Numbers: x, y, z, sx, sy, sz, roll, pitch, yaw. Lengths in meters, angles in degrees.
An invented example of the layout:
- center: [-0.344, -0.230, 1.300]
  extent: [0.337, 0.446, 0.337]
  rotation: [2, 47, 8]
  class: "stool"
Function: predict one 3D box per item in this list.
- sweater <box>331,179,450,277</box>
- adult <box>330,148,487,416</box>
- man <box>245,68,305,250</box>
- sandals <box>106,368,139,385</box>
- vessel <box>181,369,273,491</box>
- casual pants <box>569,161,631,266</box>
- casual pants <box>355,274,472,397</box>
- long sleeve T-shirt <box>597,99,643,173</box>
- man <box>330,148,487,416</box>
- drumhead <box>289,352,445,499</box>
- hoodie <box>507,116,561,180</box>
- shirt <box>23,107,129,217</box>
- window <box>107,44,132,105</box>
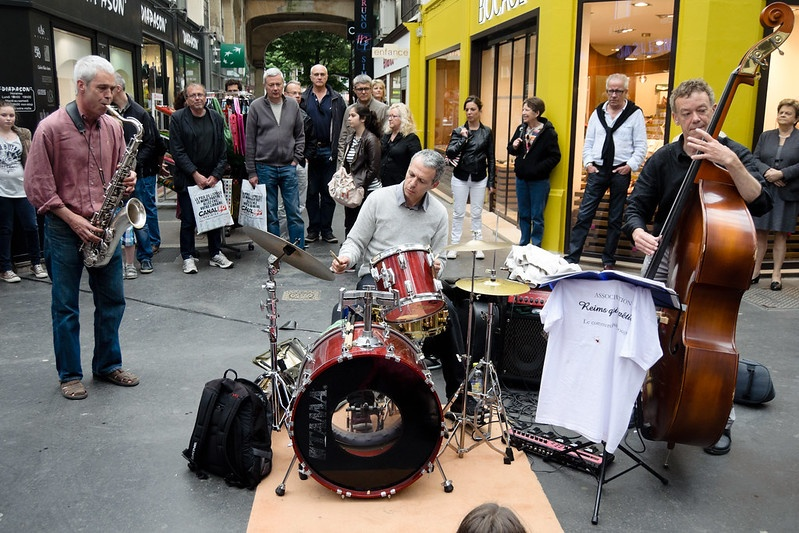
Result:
- center: [-0.146, -0.310, 5.271]
  extent: [1.176, 1.018, 0.677]
  rotation: [4, 14, -15]
  class: "sweater"
- center: [0.130, 0.084, 5.093]
  extent: [1.206, 2.109, 1.129]
  rotation: [2, 8, 10]
  class: "adult"
- center: [-1.806, -1.479, 8.967]
  extent: [0.874, 2.801, 0.648]
  rotation: [5, 26, 0]
  class: "man"
- center: [-2.469, 0.976, 5.413]
  extent: [0.265, 0.085, 0.142]
  rotation: [4, 15, 18]
  class: "sandals"
- center: [-1.231, 1.159, 4.438]
  extent: [0.627, 0.799, 0.454]
  rotation: [9, 6, 17]
  class: "vessel"
- center: [2.773, -0.807, 8.411]
  extent: [0.739, 1.957, 0.400]
  rotation: [4, 43, 9]
  class: "casual pants"
- center: [0.311, 0.567, 4.900]
  extent: [0.947, 0.974, 0.223]
  rotation: [-23, 30, 17]
  class: "casual pants"
- center: [2.888, -1.749, 8.162]
  extent: [0.819, 0.912, 0.498]
  rotation: [16, 25, 40]
  class: "long sleeve T-shirt"
- center: [0.152, 0.088, 5.033]
  extent: [1.274, 2.086, 1.188]
  rotation: [3, 9, 13]
  class: "man"
- center: [-0.234, 1.057, 4.218]
  extent: [0.974, 1.002, 0.238]
  rotation: [18, 15, -8]
  class: "drumhead"
- center: [1.968, -1.713, 8.903]
  extent: [0.744, 0.868, 0.457]
  rotation: [3, 15, 14]
  class: "hoodie"
- center: [-2.716, -0.950, 5.184]
  extent: [0.460, 0.922, 0.986]
  rotation: [19, 21, 21]
  class: "shirt"
- center: [-5.493, -3.854, 11.951]
  extent: [1.389, 1.022, 0.035]
  rotation: [21, 25, 36]
  class: "window"
